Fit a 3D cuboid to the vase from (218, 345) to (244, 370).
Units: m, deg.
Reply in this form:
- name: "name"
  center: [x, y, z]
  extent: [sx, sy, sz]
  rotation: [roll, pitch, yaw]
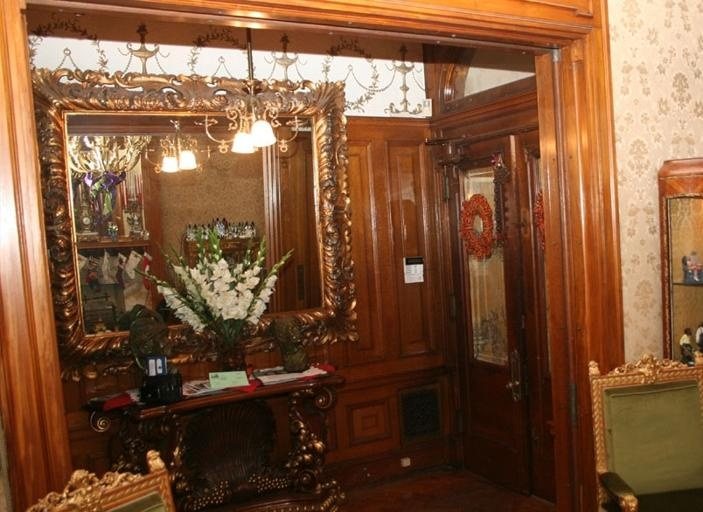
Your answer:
- name: "vase"
  center: [-0.876, 0.755, 4.144]
  extent: [0.174, 0.183, 0.313]
  rotation: [0, -4, -7]

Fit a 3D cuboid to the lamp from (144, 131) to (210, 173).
- name: "lamp"
  center: [-1.323, -0.784, 4.271]
  extent: [0.460, 0.278, 0.480]
  rotation: [-4, -3, 25]

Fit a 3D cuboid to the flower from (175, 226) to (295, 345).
- name: "flower"
  center: [-0.897, 0.343, 4.249]
  extent: [0.517, 0.497, 0.480]
  rotation: [-1, 2, 28]

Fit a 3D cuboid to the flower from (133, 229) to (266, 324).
- name: "flower"
  center: [-1.085, 0.201, 4.325]
  extent: [0.793, 0.699, 0.733]
  rotation: [-16, -9, 42]

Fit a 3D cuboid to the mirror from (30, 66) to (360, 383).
- name: "mirror"
  center: [-1.051, -0.269, 4.448]
  extent: [2.531, 2.283, 0.123]
  rotation: [-11, 12, -33]
